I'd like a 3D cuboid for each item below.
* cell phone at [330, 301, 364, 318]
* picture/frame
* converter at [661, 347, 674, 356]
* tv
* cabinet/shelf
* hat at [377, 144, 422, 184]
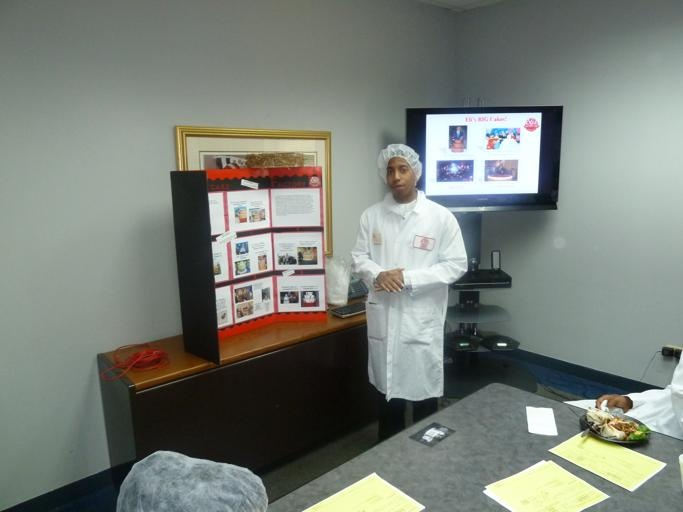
[{"bbox_3d":[0.057,0.368,3.571,0.173,0.023,0.096,-9,17,-40],"label":"cell phone"},{"bbox_3d":[-0.573,-0.381,3.246,0.892,0.687,0.019,-2,1,-32],"label":"picture/frame"},{"bbox_3d":[2.315,0.685,3.769,0.057,0.044,0.057,4,11,31],"label":"converter"},{"bbox_3d":[1.079,-0.742,3.981,0.873,0.642,0.078,0,8,2],"label":"tv"},{"bbox_3d":[1.083,0.308,4.556,1.143,1.322,1.187,-8,11,-40],"label":"cabinet/shelf"},{"bbox_3d":[0.363,-0.591,3.235,0.233,0.262,0.094,13,50,21],"label":"hat"}]
